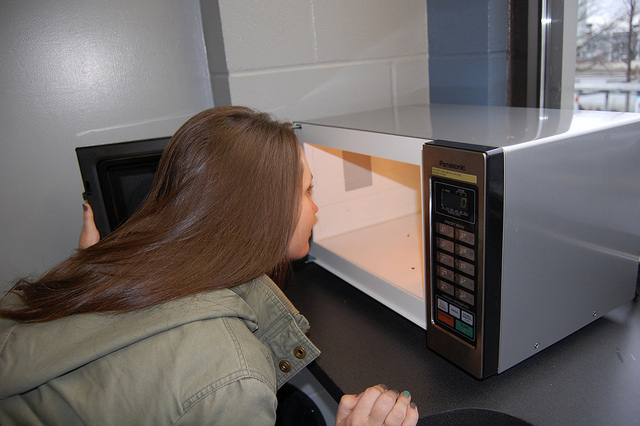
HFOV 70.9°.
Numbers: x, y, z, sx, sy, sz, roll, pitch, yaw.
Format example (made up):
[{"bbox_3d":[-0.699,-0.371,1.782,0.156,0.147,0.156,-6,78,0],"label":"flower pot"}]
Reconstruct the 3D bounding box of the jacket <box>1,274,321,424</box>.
[{"bbox_3d":[-0.273,0.287,0.764,0.414,0.134,0.321,-2,32,-18],"label":"jacket"}]
